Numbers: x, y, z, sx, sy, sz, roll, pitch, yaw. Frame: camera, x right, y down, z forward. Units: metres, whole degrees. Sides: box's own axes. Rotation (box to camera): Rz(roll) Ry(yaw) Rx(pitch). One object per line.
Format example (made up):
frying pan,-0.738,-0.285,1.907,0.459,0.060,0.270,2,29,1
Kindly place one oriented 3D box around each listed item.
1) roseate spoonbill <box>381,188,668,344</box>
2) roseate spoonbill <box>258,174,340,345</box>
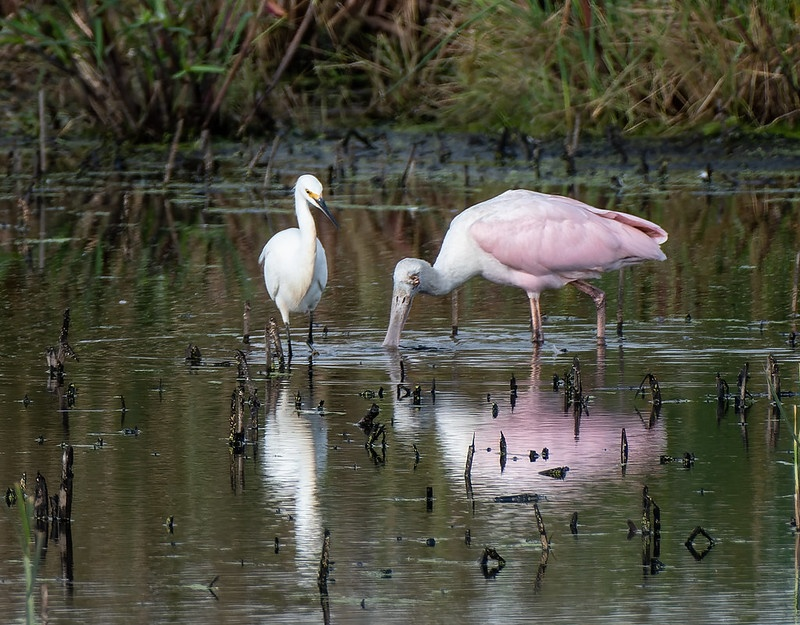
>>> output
roseate spoonbill,1.049,-0.451,9.962,2.696,1.339,0.960,-1,6,-1
roseate spoonbill,-0.748,-0.440,9.623,0.696,1.269,0.651,-16,22,-36
